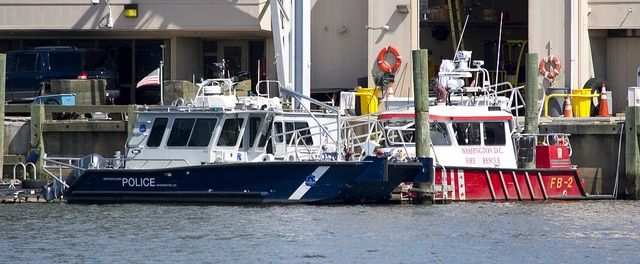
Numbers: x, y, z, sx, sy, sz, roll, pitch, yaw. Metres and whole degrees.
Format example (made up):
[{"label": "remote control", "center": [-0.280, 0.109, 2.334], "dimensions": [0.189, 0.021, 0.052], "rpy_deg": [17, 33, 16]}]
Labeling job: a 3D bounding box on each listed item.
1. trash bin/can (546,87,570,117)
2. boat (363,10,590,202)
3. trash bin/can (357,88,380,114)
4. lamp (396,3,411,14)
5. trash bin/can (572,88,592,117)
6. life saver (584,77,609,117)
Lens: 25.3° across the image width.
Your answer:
[{"label": "trash bin/can", "center": [12.045, -1.544, 73.048], "dimensions": [1.474, 1.897, 1.442], "rpy_deg": [0, 1, 10]}, {"label": "boat", "center": [6.976, -0.108, 74.953], "dimensions": [13.151, 8.463, 7.320], "rpy_deg": [0, 0, -13]}, {"label": "trash bin/can", "center": [2.283, -1.623, 73.461], "dimensions": [1.383, 1.458, 1.316], "rpy_deg": [-2, -4, 18]}, {"label": "lamp", "center": [4.534, -6.670, 76.432], "dimensions": [0.686, 0.424, 0.487], "rpy_deg": [1, 17, 11]}, {"label": "trash bin/can", "center": [13.456, -1.489, 73.099], "dimensions": [1.400, 1.639, 1.326], "rpy_deg": [2, 3, 14]}, {"label": "life saver", "center": [14.325, -1.839, 74.444], "dimensions": [1.044, 2.035, 0.808], "rpy_deg": [2, 2, 44]}]
